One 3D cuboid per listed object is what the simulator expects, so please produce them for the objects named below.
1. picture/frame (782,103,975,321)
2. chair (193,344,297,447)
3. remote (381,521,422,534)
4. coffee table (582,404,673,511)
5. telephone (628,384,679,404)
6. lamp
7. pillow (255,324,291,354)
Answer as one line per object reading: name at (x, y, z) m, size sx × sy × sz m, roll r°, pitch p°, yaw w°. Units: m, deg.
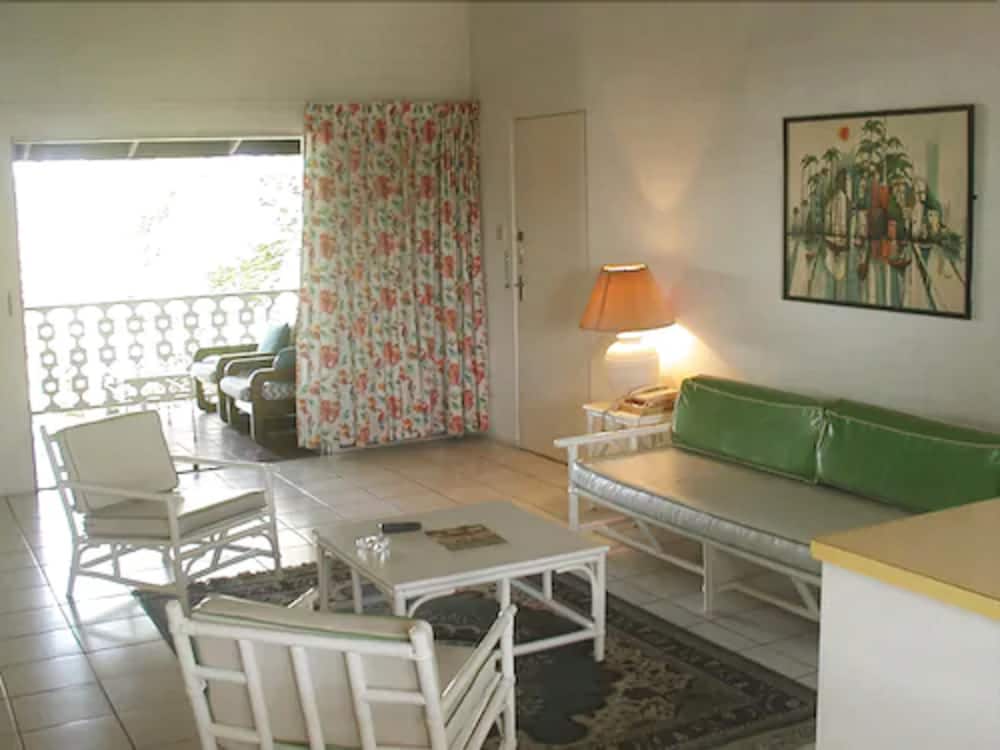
picture/frame at (1.886, -0.857, 4.053) m, size 1.122 × 0.957 × 0.027 m, roll -4°, pitch 5°, yaw -15°
chair at (-2.270, 0.173, 7.330) m, size 0.906 × 0.643 × 1.594 m, roll -5°, pitch 12°, yaw -29°
remote at (-0.457, 0.685, 3.658) m, size 0.129 × 0.032 × 0.070 m, roll 1°, pitch 1°, yaw -10°
coffee table at (0.743, 0.471, 4.622) m, size 0.645 × 0.577 × 0.476 m, roll -8°, pitch 13°, yaw -37°
telephone at (0.961, 0.119, 5.115) m, size 0.188 × 0.041 × 0.167 m, roll -7°, pitch 15°, yaw -8°
lamp at (0.842, -0.266, 5.304) m, size 0.611 × 0.861 × 0.588 m, roll -11°, pitch 17°, yaw -29°
pillow at (-2.204, -0.358, 7.815) m, size 0.337 × 0.299 × 0.121 m, roll -2°, pitch -28°, yaw 38°
